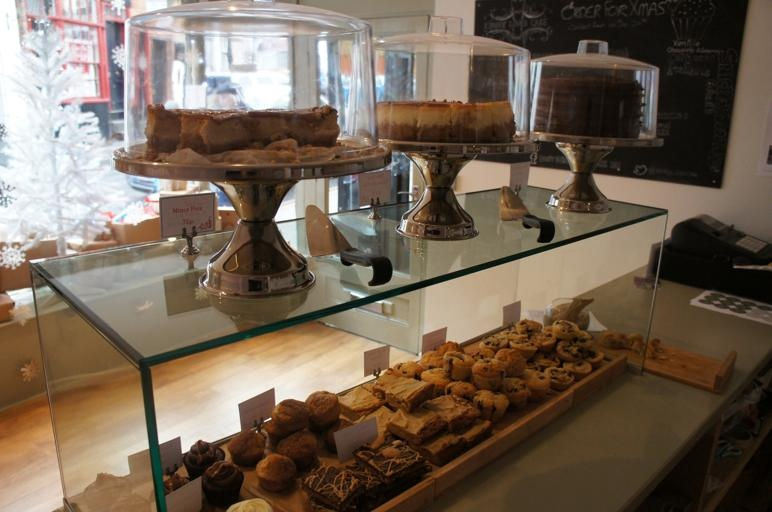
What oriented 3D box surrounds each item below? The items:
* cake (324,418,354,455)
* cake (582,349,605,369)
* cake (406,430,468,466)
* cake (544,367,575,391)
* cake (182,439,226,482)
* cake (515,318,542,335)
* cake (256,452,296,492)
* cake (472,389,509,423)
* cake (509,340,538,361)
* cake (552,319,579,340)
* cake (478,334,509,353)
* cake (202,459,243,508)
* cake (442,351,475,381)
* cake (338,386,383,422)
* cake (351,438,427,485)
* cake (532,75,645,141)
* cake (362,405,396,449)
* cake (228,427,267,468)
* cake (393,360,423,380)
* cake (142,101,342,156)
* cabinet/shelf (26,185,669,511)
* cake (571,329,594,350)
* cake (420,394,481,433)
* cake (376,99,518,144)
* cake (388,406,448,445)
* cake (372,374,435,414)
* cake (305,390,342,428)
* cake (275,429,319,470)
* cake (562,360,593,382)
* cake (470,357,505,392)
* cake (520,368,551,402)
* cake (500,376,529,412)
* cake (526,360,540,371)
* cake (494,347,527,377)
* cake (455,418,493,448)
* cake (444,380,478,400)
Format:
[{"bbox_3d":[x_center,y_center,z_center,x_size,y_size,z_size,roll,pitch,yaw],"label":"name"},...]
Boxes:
[{"bbox_3d":[-0.158,0.581,1.823,0.103,0.045,0.097,-15,37,-34],"label":"cake"},{"bbox_3d":[0.868,0.424,2.330,0.075,0.042,0.071,-3,26,-3],"label":"cake"},{"bbox_3d":[0.183,0.635,1.831,0.122,0.038,0.116,-13,15,-35],"label":"cake"},{"bbox_3d":[0.680,0.485,2.189,0.104,0.038,0.098,1,19,0],"label":"cake"},{"bbox_3d":[-0.544,0.607,1.665,0.109,0.091,0.104,-2,-1,-5],"label":"cake"},{"bbox_3d":[0.605,0.300,2.356,0.072,0.018,0.069,-5,19,-15],"label":"cake"},{"bbox_3d":[-0.329,0.661,1.681,0.120,0.085,0.113,2,21,1],"label":"cake"},{"bbox_3d":[0.366,0.529,1.998,0.116,0.080,0.113,-3,17,-19],"label":"cake"},{"bbox_3d":[0.550,0.373,2.233,0.081,0.037,0.084,-1,14,-11],"label":"cake"},{"bbox_3d":[0.754,0.311,2.337,0.086,0.026,0.082,-6,26,-14],"label":"cake"},{"bbox_3d":[0.432,0.355,2.245,0.068,0.023,0.072,-6,13,-1],"label":"cake"},{"bbox_3d":[-0.476,0.663,1.674,0.123,0.105,0.124,12,11,41],"label":"cake"},{"bbox_3d":[0.262,0.411,2.056,0.105,0.062,0.100,13,25,19],"label":"cake"},{"bbox_3d":[-0.087,0.497,1.903,0.107,0.036,0.112,-20,29,-40],"label":"cake"},{"bbox_3d":[0.018,0.650,1.781,0.242,0.051,0.227,-2,9,18],"label":"cake"},{"bbox_3d":[0.869,-0.654,2.420,0.465,0.214,0.464,18,28,31],"label":"cake"},{"bbox_3d":[-0.021,0.567,1.849,0.079,0.028,0.103,24,45,28],"label":"cake"},{"bbox_3d":[-0.428,0.593,1.721,0.115,0.076,0.114,12,20,35],"label":"cake"},{"bbox_3d":[0.086,0.426,2.062,0.069,0.019,0.060,-4,17,-17],"label":"cake"},{"bbox_3d":[-0.393,-0.339,1.485,0.347,0.096,0.207,-9,18,-28],"label":"cake"},{"bbox_3d":[-0.109,0.261,2.000,1.937,0.741,0.730,-14,22,-32],"label":"cabinet/shelf"},{"bbox_3d":[0.818,0.353,2.347,0.084,0.026,0.082,-10,24,-39],"label":"cake"},{"bbox_3d":[0.228,0.545,1.936,0.202,0.060,0.185,-17,0,29],"label":"cake"},{"bbox_3d":[0.200,-0.463,1.930,0.480,0.132,0.143,1,19,7],"label":"cake"},{"bbox_3d":[0.094,0.544,1.846,0.124,0.043,0.125,-14,18,-30],"label":"cake"},{"bbox_3d":[0.059,0.464,1.896,0.131,0.037,0.128,14,22,28],"label":"cake"},{"bbox_3d":[-0.209,0.503,1.867,0.120,0.103,0.107,-3,23,8],"label":"cake"},{"bbox_3d":[-0.280,0.597,1.779,0.126,0.082,0.120,-17,-3,3],"label":"cake"},{"bbox_3d":[0.775,0.463,2.253,0.087,0.032,0.084,-1,17,1],"label":"cake"},{"bbox_3d":[0.368,0.434,2.024,0.115,0.104,0.103,-2,16,17],"label":"cake"},{"bbox_3d":[0.559,0.481,2.090,0.105,0.061,0.108,3,28,4],"label":"cake"},{"bbox_3d":[0.458,0.507,2.048,0.109,0.040,0.103,-10,32,-17],"label":"cake"},{"bbox_3d":[0.583,0.435,2.203,0.041,0.013,0.041,-4,20,12],"label":"cake"},{"bbox_3d":[0.464,0.397,2.118,0.104,0.064,0.102,-10,30,-37],"label":"cake"},{"bbox_3d":[0.295,0.607,1.906,0.141,0.072,0.033,-22,14,-28],"label":"cake"},{"bbox_3d":[0.270,0.482,2.001,0.064,0.032,0.086,8,8,31],"label":"cake"}]
